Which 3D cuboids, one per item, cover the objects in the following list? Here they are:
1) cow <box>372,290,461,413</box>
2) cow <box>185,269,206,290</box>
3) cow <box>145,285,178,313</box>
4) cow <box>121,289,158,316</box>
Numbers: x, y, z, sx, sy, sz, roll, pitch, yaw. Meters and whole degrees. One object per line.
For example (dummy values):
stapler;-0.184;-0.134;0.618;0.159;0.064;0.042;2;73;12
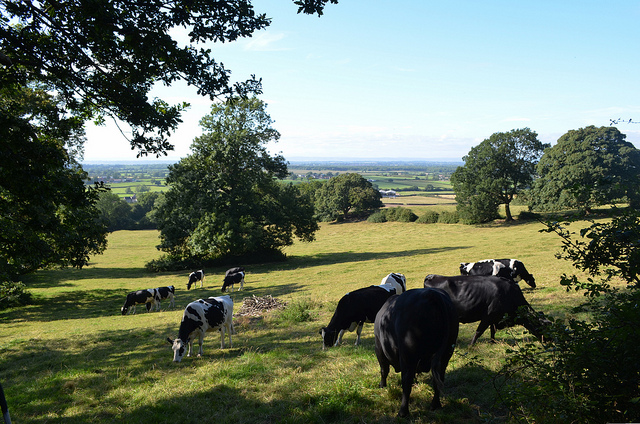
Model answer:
cow;2.847;3.999;13.808;2.255;3.349;1.323;0;2;15
cow;-9.957;5.337;37.512;0.950;1.212;2.578;-1;1;-1
cow;-10.246;5.522;30.007;0.709;1.407;2.663;-11;-6;27
cow;-11.195;5.530;29.038;2.136;1.408;1.816;-1;1;-24
